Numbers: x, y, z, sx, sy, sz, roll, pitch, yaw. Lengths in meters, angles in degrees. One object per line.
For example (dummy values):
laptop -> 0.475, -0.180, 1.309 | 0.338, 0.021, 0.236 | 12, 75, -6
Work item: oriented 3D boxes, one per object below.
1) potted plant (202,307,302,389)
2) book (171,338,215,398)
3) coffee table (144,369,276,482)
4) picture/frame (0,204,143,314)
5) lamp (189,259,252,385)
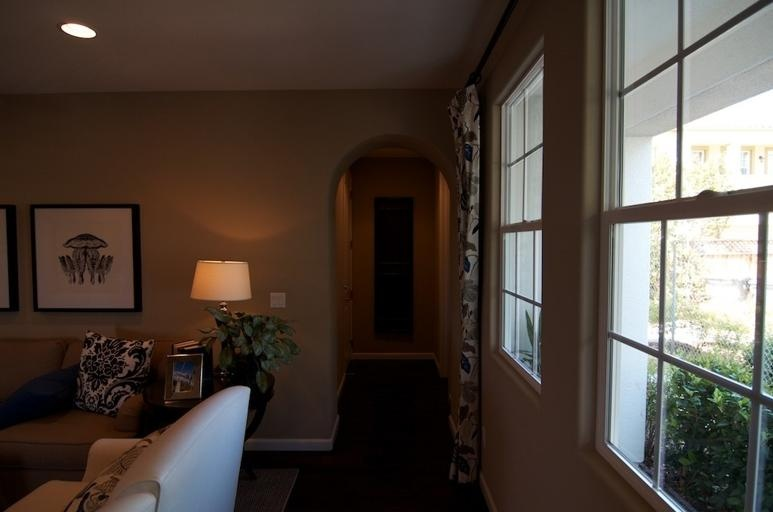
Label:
potted plant -> -0.894, 0.598, 3.649 | 0.575, 0.491, 0.384 | -1, 11, -10
book -> -1.314, 0.763, 3.828 | 0.303, 0.463, 0.327 | 2, 0, 7
coffee table -> -1.249, 1.143, 3.742 | 0.781, 0.658, 0.849 | 0, 7, -7
picture/frame -> -2.418, -0.001, 4.190 | 0.770, 0.887, 0.063 | 0, 3, 3
lamp -> -1.158, 0.263, 3.773 | 0.368, 0.421, 0.369 | 7, 7, 34
